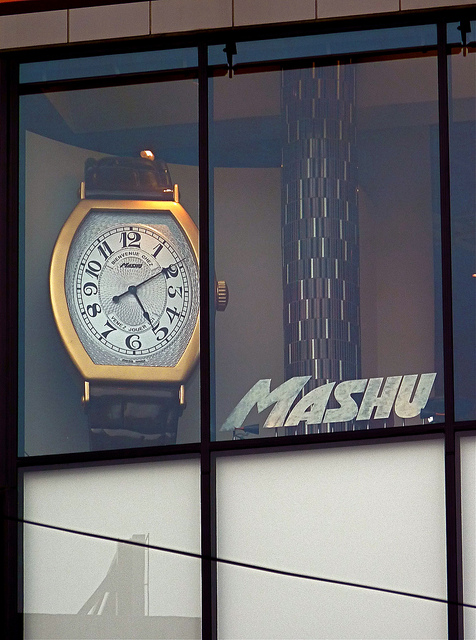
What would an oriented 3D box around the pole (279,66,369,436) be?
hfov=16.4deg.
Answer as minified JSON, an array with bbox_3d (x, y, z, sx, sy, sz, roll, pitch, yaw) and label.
[{"bbox_3d":[0.402,-0.390,7.840,0.371,1.521,0.583,-1,-26,2],"label":"pole"}]
